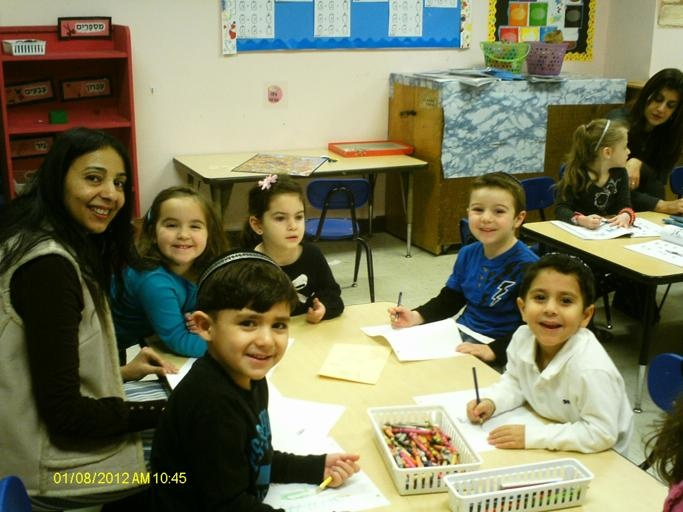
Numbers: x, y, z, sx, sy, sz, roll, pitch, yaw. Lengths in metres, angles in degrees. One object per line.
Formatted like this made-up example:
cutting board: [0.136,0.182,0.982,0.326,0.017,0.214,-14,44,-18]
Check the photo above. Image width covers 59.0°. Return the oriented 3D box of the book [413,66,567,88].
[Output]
book: [1.138,-1.452,4.937,1.125,0.137,0.602,-8,18,-19]

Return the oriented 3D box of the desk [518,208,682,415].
desk: [1.380,0.142,3.195,0.880,0.566,0.906,-11,26,-20]

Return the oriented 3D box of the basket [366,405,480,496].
basket: [0.207,0.487,1.534,0.206,0.106,0.289,-7,17,-15]

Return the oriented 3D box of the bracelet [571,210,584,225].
bracelet: [1.311,-0.213,3.385,0.080,0.034,0.059,26,38,35]

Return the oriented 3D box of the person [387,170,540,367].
person: [0.554,0.070,2.468,0.567,0.803,0.550,-3,11,-22]

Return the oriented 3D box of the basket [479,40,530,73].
basket: [1.361,-1.657,5.048,0.328,0.209,0.335,14,19,41]

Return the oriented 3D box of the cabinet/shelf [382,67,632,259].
cabinet/shelf: [1.319,-0.969,5.362,1.647,1.280,0.852,-10,25,-23]

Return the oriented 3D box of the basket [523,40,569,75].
basket: [1.665,-1.607,4.925,0.314,0.227,0.268,7,15,22]
